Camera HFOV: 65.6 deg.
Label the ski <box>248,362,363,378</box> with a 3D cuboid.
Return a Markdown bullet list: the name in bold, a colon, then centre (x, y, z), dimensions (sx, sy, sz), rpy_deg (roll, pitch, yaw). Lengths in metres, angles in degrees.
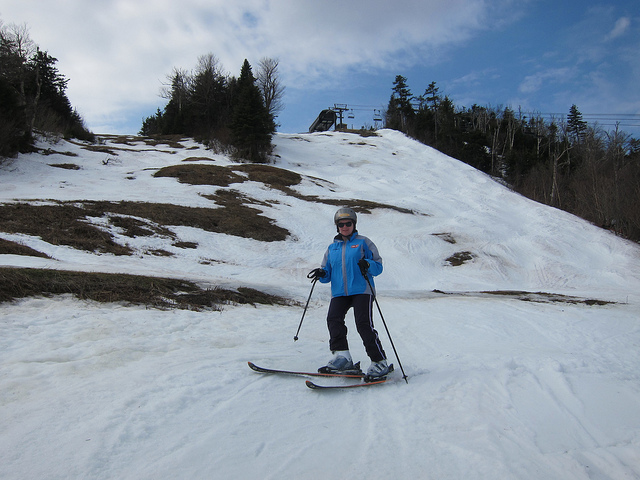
- **ski**: centre (-0.294, 2.281, 8.641), dimensions (1.951, 0.137, 0.203), rpy_deg (2, -18, 8)

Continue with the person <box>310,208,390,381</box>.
- **person**: centre (0.551, 0.919, 8.552), dimensions (1.444, 2.875, 0.818), rpy_deg (6, 10, 20)

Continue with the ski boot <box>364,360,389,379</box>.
- **ski boot**: centre (0.966, 2.177, 8.416), dimensions (0.485, 0.282, 0.190), rpy_deg (-3, 11, -33)
